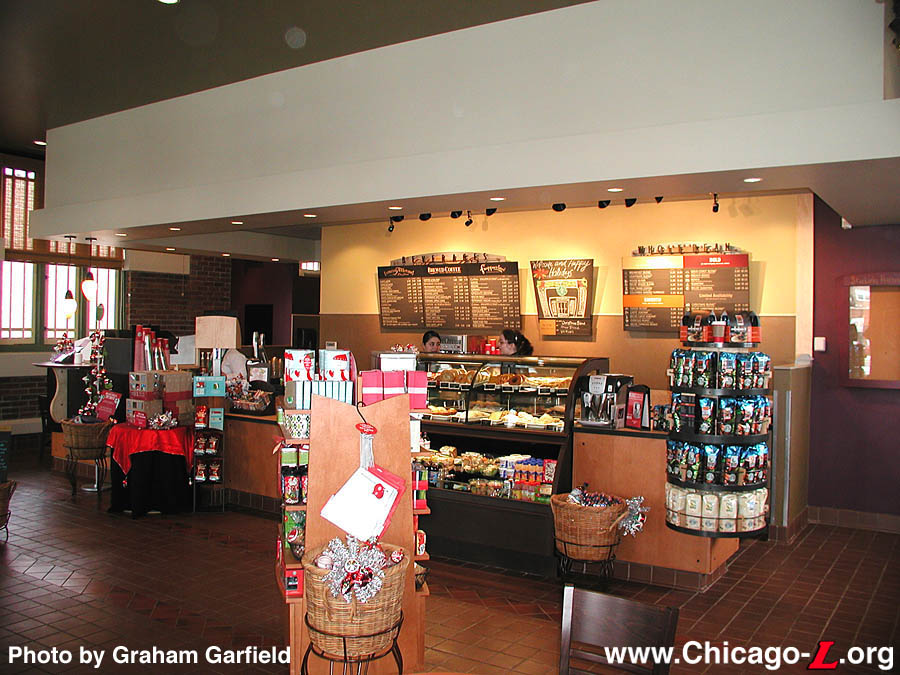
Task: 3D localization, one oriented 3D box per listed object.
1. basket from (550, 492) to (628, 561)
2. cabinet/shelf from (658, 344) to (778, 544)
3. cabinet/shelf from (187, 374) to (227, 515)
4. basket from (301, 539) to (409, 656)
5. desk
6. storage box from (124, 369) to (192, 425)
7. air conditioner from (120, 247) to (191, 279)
[{"bbox_3d":[1.110,1.529,5.461,0.548,0.386,0.515,2,-9,-11],"label":"basket"},{"bbox_3d":[2.004,0.749,4.938,0.717,1.407,0.380,1,3,21],"label":"cabinet/shelf"},{"bbox_3d":[-2.736,1.185,7.454,0.377,1.472,0.366,-1,3,-20],"label":"cabinet/shelf"},{"bbox_3d":[-0.488,1.290,3.497,0.530,0.523,0.543,2,1,12],"label":"basket"},{"bbox_3d":[-3.363,1.410,7.282,0.707,0.732,0.674,-9,-5,40],"label":"desk"},{"bbox_3d":[-3.262,0.678,7.385,0.676,0.601,0.401,-2,3,-26],"label":"storage box"},{"bbox_3d":[-5.308,-1.342,11.934,0.237,0.410,1.288,1,3,31],"label":"air conditioner"}]
